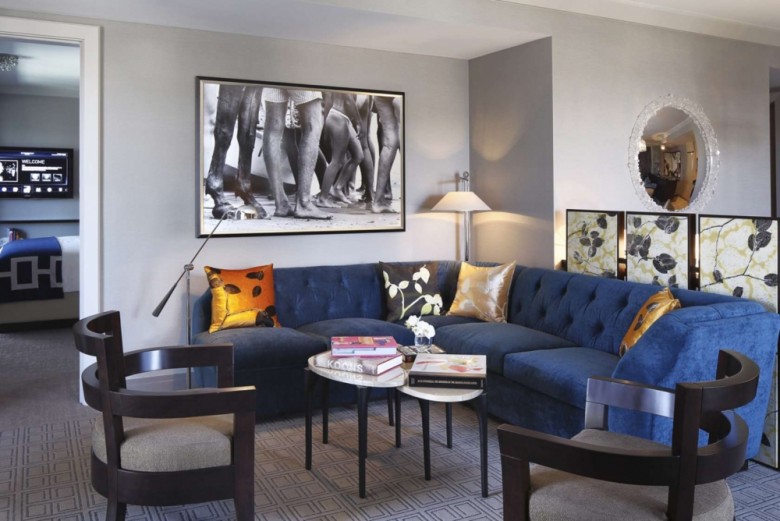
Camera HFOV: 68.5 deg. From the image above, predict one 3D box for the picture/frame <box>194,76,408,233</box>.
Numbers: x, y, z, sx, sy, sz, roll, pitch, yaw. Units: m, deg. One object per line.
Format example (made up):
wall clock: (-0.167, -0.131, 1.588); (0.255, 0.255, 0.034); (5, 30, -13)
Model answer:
picture/frame: (-0.716, -0.923, 5.231); (2.277, 1.318, 0.027); (-9, 18, -42)

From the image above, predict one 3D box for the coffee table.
coffee table: (0.084, 0.709, 3.320); (1.114, 0.643, 0.914); (-1, -1, 20)

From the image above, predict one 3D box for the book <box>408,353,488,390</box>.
book: (0.344, 0.632, 3.379); (0.439, 0.091, 0.427); (1, 11, 10)

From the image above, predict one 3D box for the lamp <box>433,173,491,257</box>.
lamp: (0.677, -0.402, 5.560); (0.532, 0.874, 0.718); (0, 12, 4)

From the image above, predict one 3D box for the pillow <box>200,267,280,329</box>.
pillow: (-1.200, 0.308, 4.556); (0.470, 0.392, 0.159); (-4, -21, -24)

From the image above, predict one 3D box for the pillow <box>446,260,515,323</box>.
pillow: (0.775, 0.269, 4.956); (0.543, 0.460, 0.297); (6, 17, 44)

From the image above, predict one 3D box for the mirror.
mirror: (2.701, -1.001, 5.536); (1.556, 1.442, 0.111); (2, -4, -29)
